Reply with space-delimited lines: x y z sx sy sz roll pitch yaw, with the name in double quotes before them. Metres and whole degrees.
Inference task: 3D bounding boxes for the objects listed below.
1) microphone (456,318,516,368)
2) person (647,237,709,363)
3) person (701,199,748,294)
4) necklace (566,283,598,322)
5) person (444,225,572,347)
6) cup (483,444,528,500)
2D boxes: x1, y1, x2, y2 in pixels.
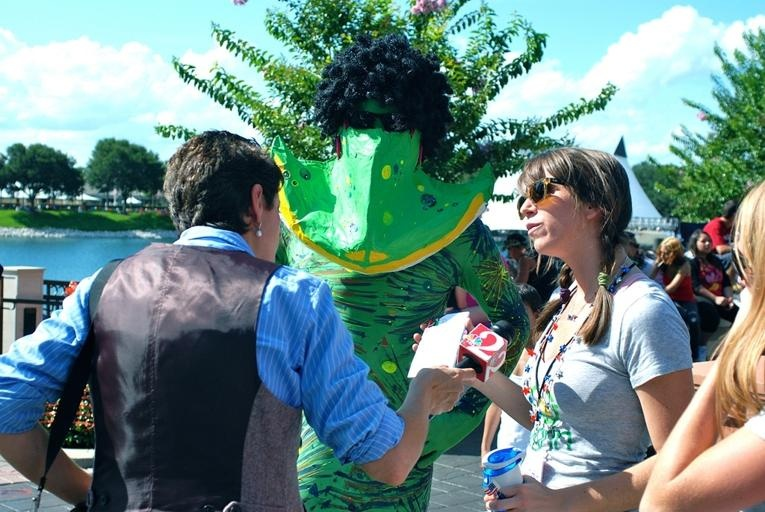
"microphone" 0.502 0.426 4.684 0.171 0.179 0.319 31 18 21
"person" 3.104 0.442 10.011 0.593 1.294 0.731 -7 1 26
"person" 4.071 -0.117 11.029 0.526 0.993 0.518 -29 31 -34
"necklace" 0.951 0.224 4.555 0.116 0.163 0.075 2 7 19
"person" 0.726 0.189 5.468 0.544 0.395 0.848 -8 33 -46
"cup" 0.552 0.979 4.252 0.212 0.217 0.138 -16 21 -14
